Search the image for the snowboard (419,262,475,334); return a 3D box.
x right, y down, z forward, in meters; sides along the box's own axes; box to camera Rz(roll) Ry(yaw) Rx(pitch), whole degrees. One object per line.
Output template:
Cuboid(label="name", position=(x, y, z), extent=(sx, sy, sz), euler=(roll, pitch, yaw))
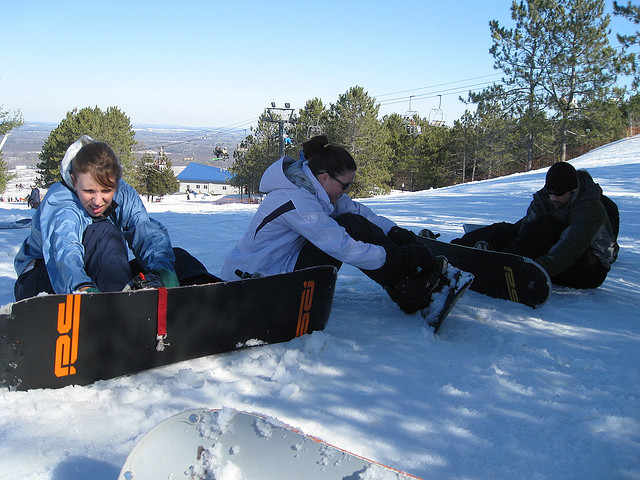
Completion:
Cuboid(label="snowboard", position=(0.798, 0.356, 3.255), extent=(0.401, 0.145, 0.294), euler=(-50, 9, -10))

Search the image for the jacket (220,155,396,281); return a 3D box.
Cuboid(label="jacket", position=(-0.064, -0.088, 3.343), extent=(1.265, 0.911, 0.822), euler=(0, 14, 12))

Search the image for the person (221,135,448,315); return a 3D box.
Cuboid(label="person", position=(0.065, -0.078, 3.359), extent=(1.540, 1.196, 0.873), euler=(0, 12, 19))

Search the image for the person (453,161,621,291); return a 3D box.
Cuboid(label="person", position=(1.784, -0.104, 4.016), extent=(1.233, 0.741, 0.860), euler=(7, 11, -28))

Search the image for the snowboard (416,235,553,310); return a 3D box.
Cuboid(label="snowboard", position=(1.188, 0.202, 4.153), extent=(0.217, 0.398, 1.514), euler=(-12, 15, -31))

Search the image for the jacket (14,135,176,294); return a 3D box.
Cuboid(label="jacket", position=(-1.360, -0.105, 3.034), extent=(0.707, 0.869, 1.357), euler=(-9, 11, -42))

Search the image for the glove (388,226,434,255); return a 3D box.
Cuboid(label="glove", position=(0.617, 0.010, 3.507), extent=(0.122, 0.141, 0.455), euler=(-28, 30, -16))

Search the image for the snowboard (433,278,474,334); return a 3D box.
Cuboid(label="snowboard", position=(0.815, 0.399, 3.222), extent=(0.086, 0.378, 0.212), euler=(32, -4, 15))
